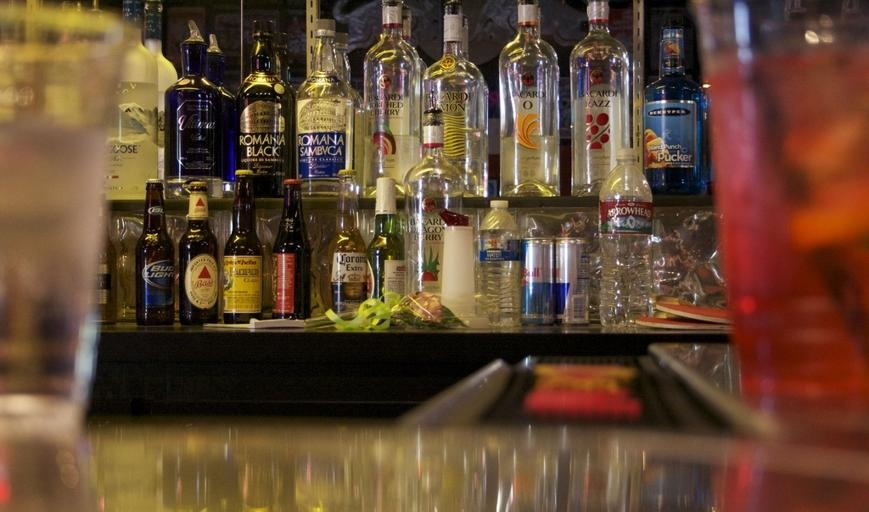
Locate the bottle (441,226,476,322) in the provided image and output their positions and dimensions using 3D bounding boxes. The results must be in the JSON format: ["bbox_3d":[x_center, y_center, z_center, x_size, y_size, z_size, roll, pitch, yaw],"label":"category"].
[{"bbox_3d":[0.040,0.032,1.503,0.075,0.129,0.081,-11,5,1],"label":"bottle"}]
